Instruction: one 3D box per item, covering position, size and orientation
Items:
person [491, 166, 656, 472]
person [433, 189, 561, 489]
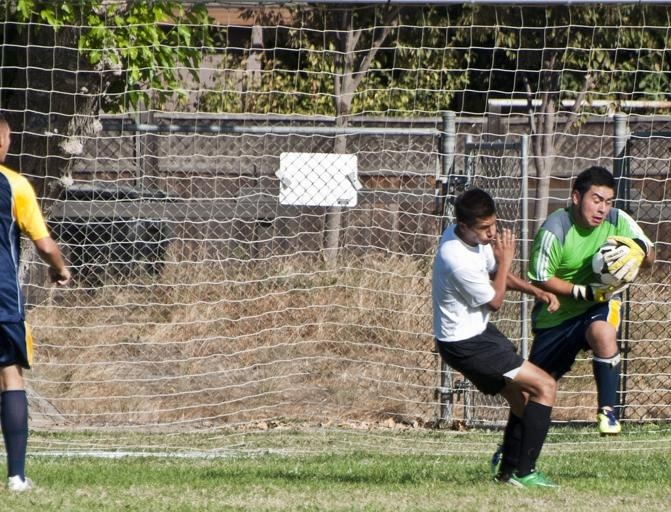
[{"bbox_3d":[2.328,0.552,13.560,0.892,2.875,1.403,0,0,-19],"label":"person"},{"bbox_3d":[1.561,0.722,13.180,1.355,2.455,0.767,0,0,29],"label":"person"}]
